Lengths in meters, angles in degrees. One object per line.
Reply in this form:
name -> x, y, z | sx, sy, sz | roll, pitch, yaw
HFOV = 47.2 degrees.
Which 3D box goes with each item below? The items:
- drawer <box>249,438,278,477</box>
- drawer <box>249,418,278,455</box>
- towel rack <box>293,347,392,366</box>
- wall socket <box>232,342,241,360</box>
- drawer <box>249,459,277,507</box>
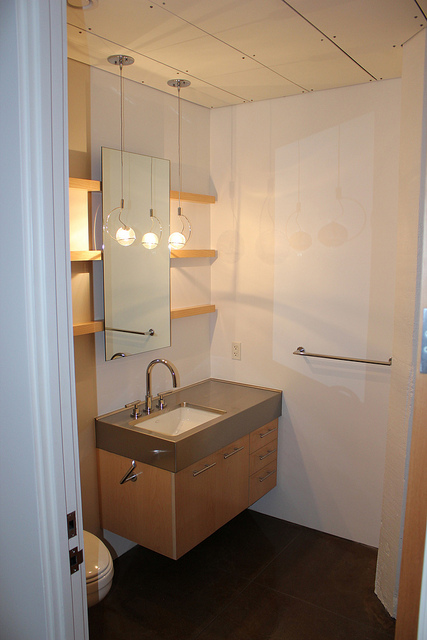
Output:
drawer -> 0.277, 0.770, 2.743 | 0.144, 0.072, 0.133 | -14, 6, -41
drawer -> 0.277, 0.650, 2.735 | 0.118, 0.095, 0.178 | 4, 13, 37
towel rack -> 0.667, 0.191, 2.615 | 0.558, 0.047, 0.043 | 5, 6, 40
wall socket -> 0.144, 0.190, 3.056 | 0.063, 0.106, 0.010 | 4, 6, 39
drawer -> 0.284, 0.915, 2.774 | 0.163, 0.172, 0.247 | 0, 6, 33
